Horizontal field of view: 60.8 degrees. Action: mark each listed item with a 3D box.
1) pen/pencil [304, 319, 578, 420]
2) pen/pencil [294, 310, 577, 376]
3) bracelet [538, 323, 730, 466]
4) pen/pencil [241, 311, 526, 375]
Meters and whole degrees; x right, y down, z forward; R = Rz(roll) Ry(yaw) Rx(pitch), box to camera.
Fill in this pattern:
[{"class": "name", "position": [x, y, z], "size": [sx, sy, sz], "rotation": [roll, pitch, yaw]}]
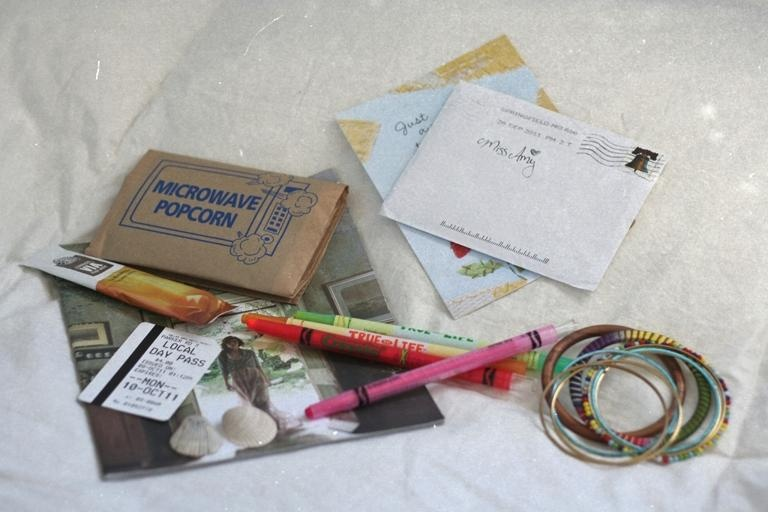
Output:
[{"class": "pen/pencil", "position": [0.064, 0.137, 0.764], "size": [0.303, 0.023, 0.024], "rotation": [-15, 21, -5]}, {"class": "pen/pencil", "position": [0.065, 0.107, 0.785], "size": [0.269, 0.020, 0.020], "rotation": [11, -21, 8]}, {"class": "bracelet", "position": [0.271, 0.160, 0.727], "size": [0.158, 0.163, 0.046], "rotation": [-7, -39, 8]}, {"class": "pen/pencil", "position": [-0.002, 0.108, 0.788], "size": [0.272, 0.021, 0.021], "rotation": [10, 31, 3]}]
